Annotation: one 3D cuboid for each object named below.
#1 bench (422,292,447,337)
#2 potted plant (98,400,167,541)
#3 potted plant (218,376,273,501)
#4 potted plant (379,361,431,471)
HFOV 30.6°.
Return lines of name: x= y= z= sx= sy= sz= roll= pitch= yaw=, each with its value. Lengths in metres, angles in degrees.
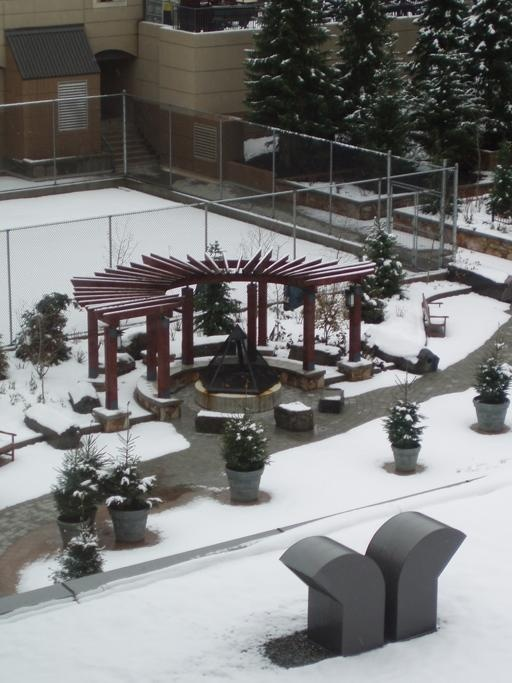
bench: x=4.179 y=-0.599 z=22.035 sx=0.326 sy=0.526 sz=1.033 roll=-3 pitch=16 yaw=2
potted plant: x=-1.636 y=1.868 z=11.953 sx=0.843 sy=1.320 sz=0.725 roll=-4 pitch=-4 yaw=38
potted plant: x=-0.158 y=1.666 z=13.248 sx=0.648 sy=1.293 sz=0.447 roll=1 pitch=9 yaw=-2
potted plant: x=2.266 y=1.467 z=14.441 sx=0.569 sy=1.110 sz=0.582 roll=2 pitch=9 yaw=8
